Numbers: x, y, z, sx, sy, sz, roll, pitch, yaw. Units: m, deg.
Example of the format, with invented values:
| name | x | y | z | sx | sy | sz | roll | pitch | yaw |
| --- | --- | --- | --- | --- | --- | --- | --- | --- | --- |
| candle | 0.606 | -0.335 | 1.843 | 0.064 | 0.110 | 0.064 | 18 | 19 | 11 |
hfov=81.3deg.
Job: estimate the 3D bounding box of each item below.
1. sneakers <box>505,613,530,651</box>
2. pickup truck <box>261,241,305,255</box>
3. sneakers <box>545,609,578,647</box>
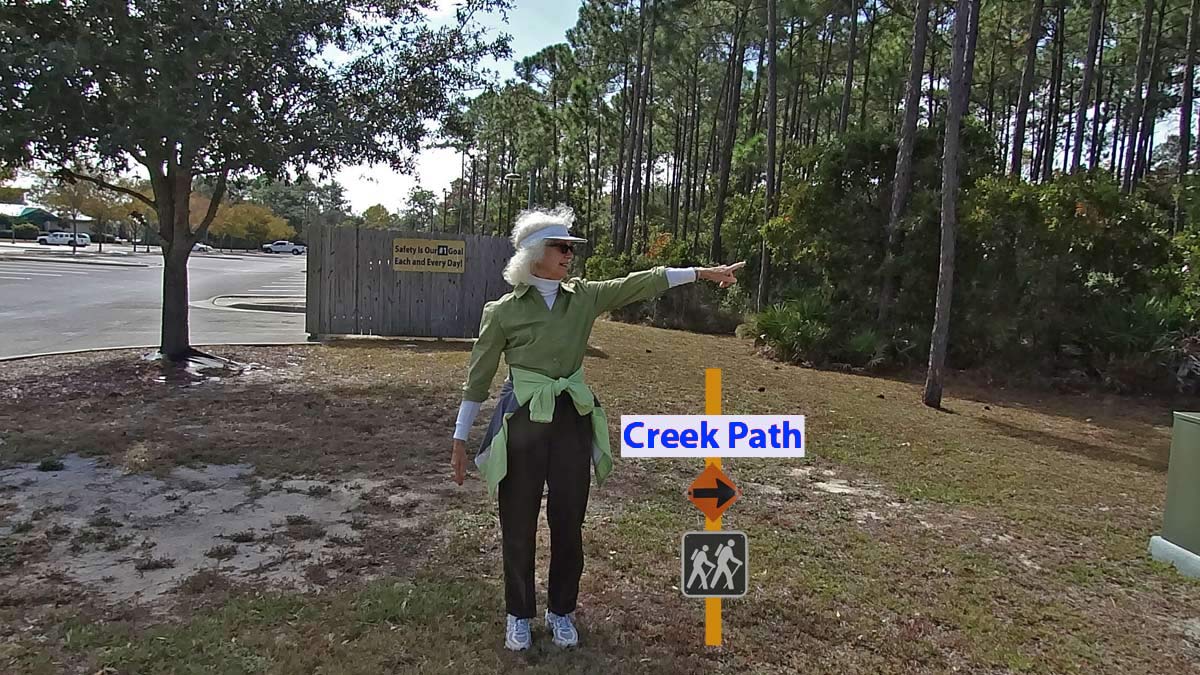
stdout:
| name | x | y | z | sx | sy | sz | roll | pitch | yaw |
| --- | --- | --- | --- | --- | --- | --- | --- | --- | --- |
| sneakers | -0.915 | 3.395 | 7.953 | 0.197 | 0.223 | 0.464 | 3 | -8 | -8 |
| pickup truck | -46.430 | -13.283 | 102.995 | 4.415 | 1.652 | 6.925 | -4 | 10 | -37 |
| sneakers | -0.440 | 3.383 | 8.126 | 0.211 | 0.227 | 0.509 | 0 | -2 | -15 |
